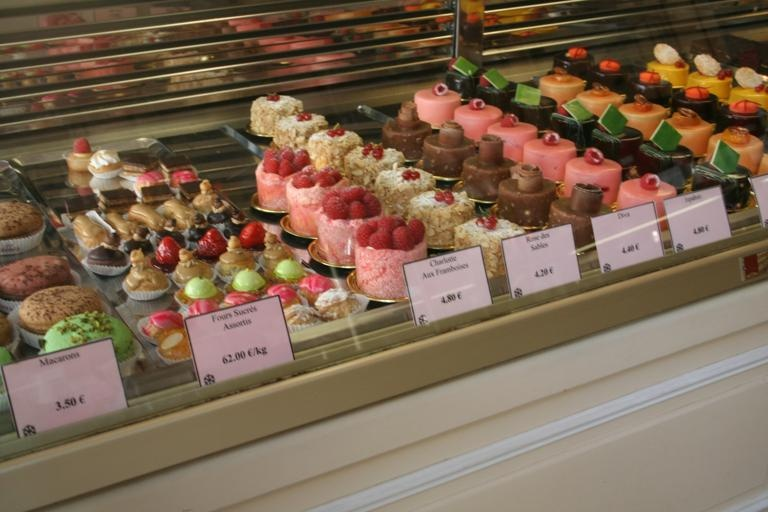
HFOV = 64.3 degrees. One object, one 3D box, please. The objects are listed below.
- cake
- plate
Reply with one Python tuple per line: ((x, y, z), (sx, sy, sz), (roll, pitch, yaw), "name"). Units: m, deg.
((-0.230, -0.161, 2.138), (2.084, 0.488, 1.261), (-14, 11, -19), "cake")
((-0.001, -0.094, 2.034), (0.699, 0.131, 0.726), (22, 35, 36), "plate")
